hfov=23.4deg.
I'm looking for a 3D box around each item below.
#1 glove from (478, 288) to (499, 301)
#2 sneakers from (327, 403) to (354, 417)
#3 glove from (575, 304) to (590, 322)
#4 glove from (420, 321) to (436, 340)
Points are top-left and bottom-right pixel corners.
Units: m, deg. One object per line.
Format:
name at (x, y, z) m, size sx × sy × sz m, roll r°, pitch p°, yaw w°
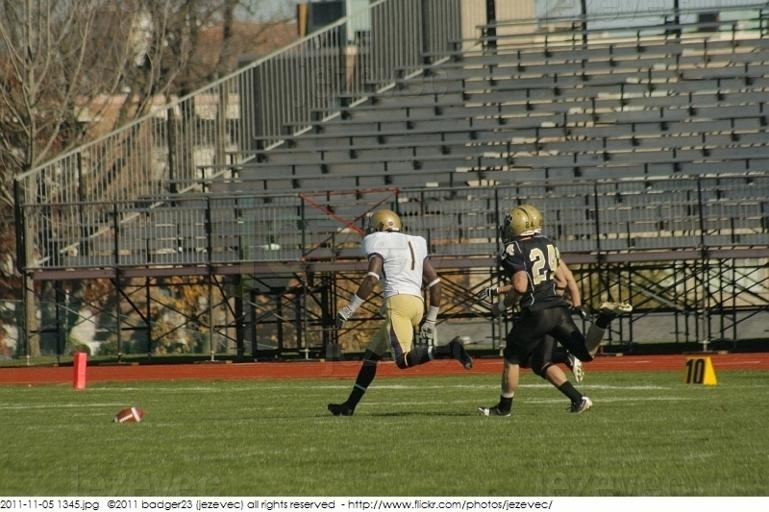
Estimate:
glove at (2.453, 0.828, 43.586) m, size 0.328 × 0.120 × 0.312 m, roll -19°, pitch -15°, yaw -12°
sneakers at (-1.016, 3.564, 43.540) m, size 0.640 × 0.284 × 0.244 m, roll 14°, pitch -4°, yaw 0°
glove at (4.714, 1.284, 43.897) m, size 0.220 × 0.455 × 0.191 m, roll -44°, pitch -22°, yaw -15°
glove at (1.031, 1.695, 43.965) m, size 0.279 × 0.449 × 0.388 m, roll -12°, pitch -24°, yaw 32°
